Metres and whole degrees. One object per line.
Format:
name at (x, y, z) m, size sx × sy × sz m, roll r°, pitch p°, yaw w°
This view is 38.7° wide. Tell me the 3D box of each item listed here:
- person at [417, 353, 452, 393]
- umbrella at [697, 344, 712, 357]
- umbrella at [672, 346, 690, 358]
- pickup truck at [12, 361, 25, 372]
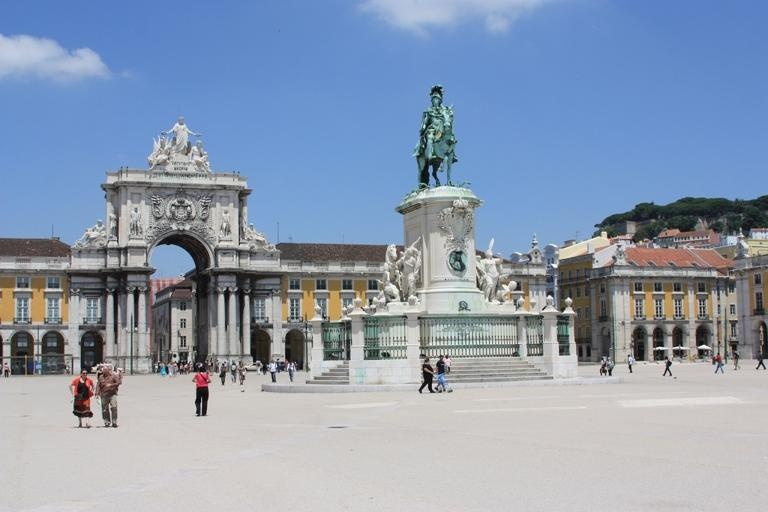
person at (1.763, 4.239, 38.722) m, size 1.127 × 1.258 × 2.038 m, roll -3°, pitch -7°, yaw 4°
umbrella at (28.872, 8.661, 98.577) m, size 1.502 × 1.021 × 1.485 m, roll 3°, pitch 4°, yaw 36°
umbrella at (26.821, 8.718, 98.576) m, size 1.583 × 0.773 × 1.523 m, roll 1°, pitch -21°, yaw -2°
pickup truck at (-30.706, 9.276, 91.125) m, size 0.914 × 1.330 × 7.019 m, roll 0°, pitch -7°, yaw -18°
